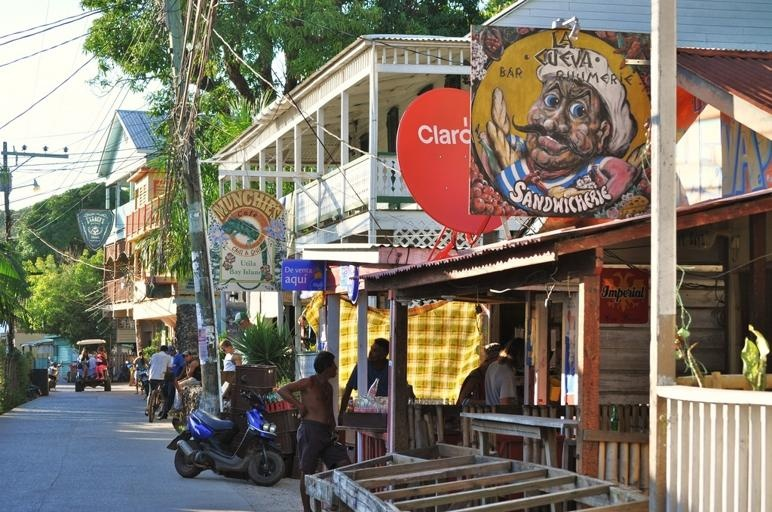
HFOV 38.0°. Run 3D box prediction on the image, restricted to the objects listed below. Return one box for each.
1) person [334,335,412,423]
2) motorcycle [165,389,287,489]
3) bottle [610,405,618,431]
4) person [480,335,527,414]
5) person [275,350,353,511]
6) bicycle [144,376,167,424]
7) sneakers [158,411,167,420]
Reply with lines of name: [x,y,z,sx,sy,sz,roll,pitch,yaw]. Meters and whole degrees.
person: [-0.288,2.290,20.750,1.330,2.827,0.703,0,-14,6]
motorcycle: [-3.068,3.346,21.008,2.191,1.827,0.910,1,-23,16]
bottle: [3.658,2.567,17.954,0.133,0.378,0.181,0,-9,15]
person: [2.189,2.229,20.821,0.519,1.799,0.903,-6,15,-30]
person: [-1.195,2.793,18.159,0.995,2.572,0.896,8,-11,-35]
bicycle: [-6.638,3.944,31.372,0.546,0.802,1.211,1,-7,-3]
sneakers: [-6.291,4.410,31.117,0.186,0.298,0.678,2,2,-10]
